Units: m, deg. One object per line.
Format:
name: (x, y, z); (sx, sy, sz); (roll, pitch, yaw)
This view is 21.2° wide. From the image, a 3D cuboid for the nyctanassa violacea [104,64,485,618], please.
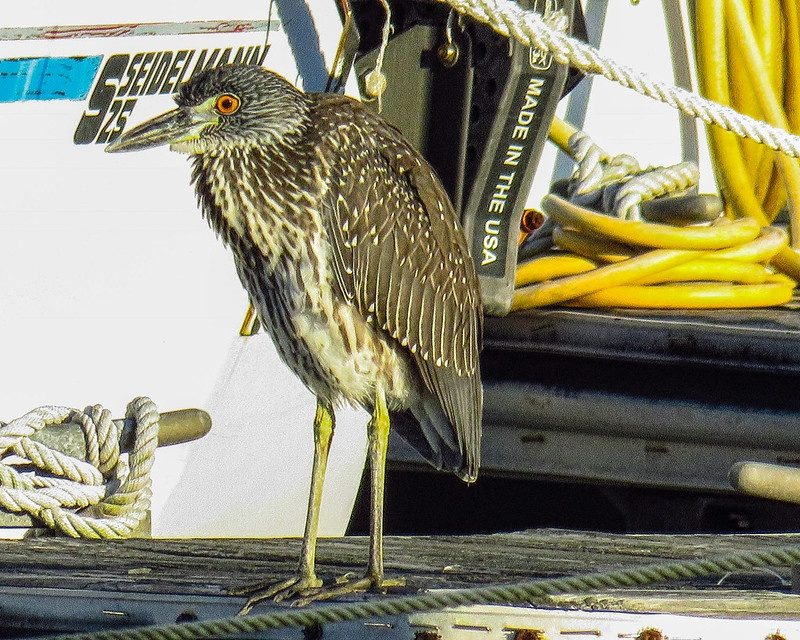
nyctanassa violacea: (-0.233, 0.059, 6.264); (1.121, 1.558, 0.497); (17, -27, -34)
